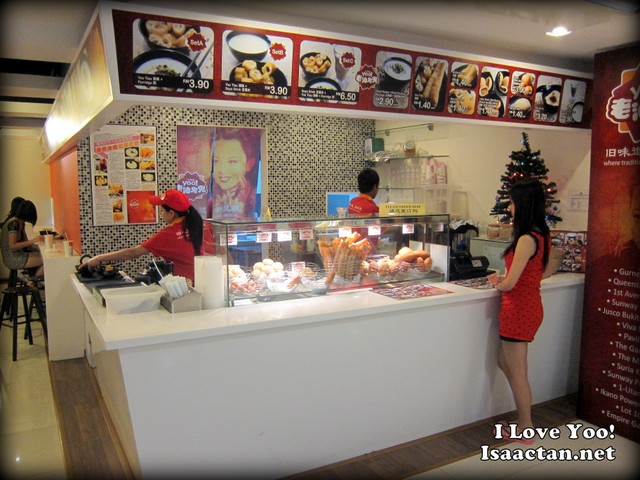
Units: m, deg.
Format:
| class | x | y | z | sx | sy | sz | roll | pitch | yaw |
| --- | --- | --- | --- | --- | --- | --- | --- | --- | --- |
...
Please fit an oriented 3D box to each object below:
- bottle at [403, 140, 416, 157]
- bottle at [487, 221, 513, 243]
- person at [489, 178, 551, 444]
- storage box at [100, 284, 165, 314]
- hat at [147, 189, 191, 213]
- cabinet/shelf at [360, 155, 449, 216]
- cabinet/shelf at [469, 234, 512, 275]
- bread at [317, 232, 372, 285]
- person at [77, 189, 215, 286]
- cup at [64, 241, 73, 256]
| class | x | y | z | sx | sy | sz | roll | pitch | yaw |
| --- | --- | --- | --- | --- | --- | --- | --- | --- | --- |
| bottle | 1.335 | -1.362 | 6.538 | 0.224 | 0.242 | 0.211 | -5 | 12 | -16 |
| bottle | 1.924 | -0.093 | 4.640 | 0.204 | 0.132 | 0.206 | -1 | 7 | 0 |
| person | 1.677 | 0.575 | 3.682 | 0.415 | 2.139 | 0.494 | 4 | 10 | 28 |
| storage box | -1.441 | 0.442 | 3.352 | 0.408 | 0.140 | 0.448 | -5 | 10 | -29 |
| hat | -1.438 | -0.360 | 4.167 | 0.384 | 0.150 | 0.243 | 11 | 30 | -7 |
| cabinet/shelf | 1.203 | -0.756 | 5.918 | 0.554 | 1.045 | 1.132 | -5 | 7 | -31 |
| cabinet/shelf | 1.777 | 0.112 | 4.562 | 0.326 | 0.457 | 0.470 | 1 | 0 | -21 |
| bread | 0.211 | 0.104 | 3.801 | 0.463 | 0.461 | 0.402 | -1 | 12 | -10 |
| person | -2.112 | -0.034 | 4.987 | 0.672 | 1.110 | 0.906 | 17 | 18 | 17 |
| cup | -3.087 | 0.103 | 5.325 | 0.084 | 0.179 | 0.114 | -5 | 9 | -26 |
